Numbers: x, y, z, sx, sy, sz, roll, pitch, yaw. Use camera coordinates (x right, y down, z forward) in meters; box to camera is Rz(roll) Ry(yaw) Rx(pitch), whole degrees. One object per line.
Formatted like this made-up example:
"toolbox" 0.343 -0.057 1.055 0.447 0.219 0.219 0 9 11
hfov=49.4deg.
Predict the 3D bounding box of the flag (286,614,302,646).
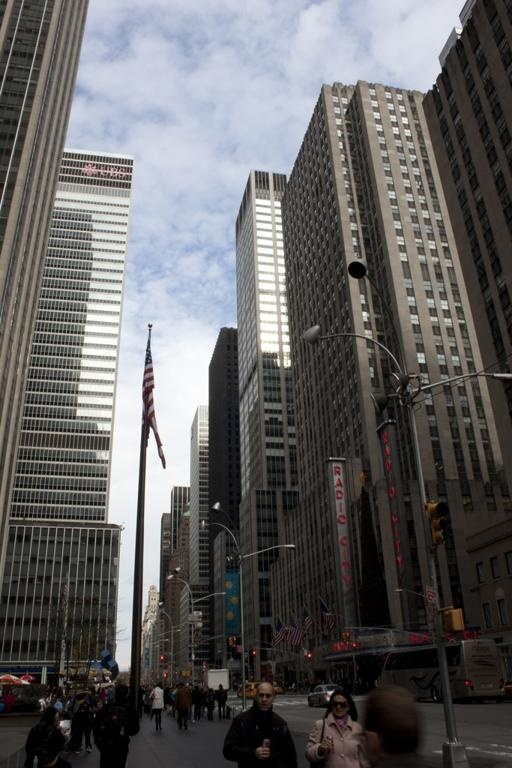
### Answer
"flag" 3.999 25.875 59.001 1.075 2.842 2.952 2 -25 -10
